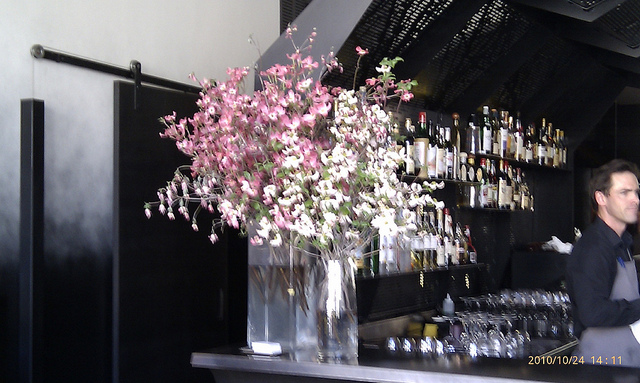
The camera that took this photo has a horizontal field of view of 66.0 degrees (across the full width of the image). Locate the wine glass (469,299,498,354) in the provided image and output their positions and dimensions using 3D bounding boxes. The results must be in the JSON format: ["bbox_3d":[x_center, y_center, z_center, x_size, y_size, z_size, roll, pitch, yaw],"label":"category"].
[{"bbox_3d":[1.216,1.035,3.843,0.272,0.324,0.278,0,3,34],"label":"wine glass"}]

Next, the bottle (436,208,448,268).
[{"bbox_3d":[1.003,0.382,4.118,0.120,0.478,0.118,-2,-2,0],"label":"bottle"}]

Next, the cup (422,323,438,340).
[{"bbox_3d":[0.871,1.090,3.874,0.144,0.095,0.156,1,-3,0],"label":"cup"}]

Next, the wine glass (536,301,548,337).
[{"bbox_3d":[1.848,1.058,4.133,0.084,0.215,0.438,-1,-3,24],"label":"wine glass"}]

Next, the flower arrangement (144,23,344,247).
[{"bbox_3d":[-0.360,-0.204,2.978,1.190,1.333,1.144,-10,-20,1],"label":"flower arrangement"}]

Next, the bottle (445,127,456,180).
[{"bbox_3d":[1.078,-0.313,4.103,0.078,0.430,0.263,-1,-4,26],"label":"bottle"}]

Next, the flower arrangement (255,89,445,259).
[{"bbox_3d":[0.159,-0.053,2.724,0.855,0.928,0.873,5,2,23],"label":"flower arrangement"}]

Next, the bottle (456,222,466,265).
[{"bbox_3d":[1.248,0.450,4.396,0.080,0.353,0.246,0,-3,16],"label":"bottle"}]

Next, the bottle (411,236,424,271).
[{"bbox_3d":[0.760,0.480,3.855,0.066,0.262,0.191,-2,-4,42],"label":"bottle"}]

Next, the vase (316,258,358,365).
[{"bbox_3d":[0.081,0.601,2.509,0.208,0.516,0.075,1,-3,-4],"label":"vase"}]

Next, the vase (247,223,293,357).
[{"bbox_3d":[-0.294,0.518,2.797,0.226,0.698,0.917,1,-3,-8],"label":"vase"}]

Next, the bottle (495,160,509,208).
[{"bbox_3d":[1.726,-0.075,4.675,0.131,0.457,0.128,0,-1,0],"label":"bottle"}]

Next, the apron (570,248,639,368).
[{"bbox_3d":[1.716,0.706,2.895,0.460,0.611,0.353,1,-3,-2],"label":"apron"}]

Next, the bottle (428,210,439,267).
[{"bbox_3d":[0.931,0.384,4.081,0.084,0.450,0.149,0,-3,12],"label":"bottle"}]

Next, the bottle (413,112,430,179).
[{"bbox_3d":[0.786,-0.368,3.857,0.120,0.534,0.430,0,-3,13],"label":"bottle"}]

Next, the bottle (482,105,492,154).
[{"bbox_3d":[1.516,-0.542,4.501,0.082,0.404,0.255,-1,-3,19],"label":"bottle"}]

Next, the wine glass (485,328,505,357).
[{"bbox_3d":[1.040,0.922,3.005,0.123,0.162,0.055,11,-21,-40],"label":"wine glass"}]
